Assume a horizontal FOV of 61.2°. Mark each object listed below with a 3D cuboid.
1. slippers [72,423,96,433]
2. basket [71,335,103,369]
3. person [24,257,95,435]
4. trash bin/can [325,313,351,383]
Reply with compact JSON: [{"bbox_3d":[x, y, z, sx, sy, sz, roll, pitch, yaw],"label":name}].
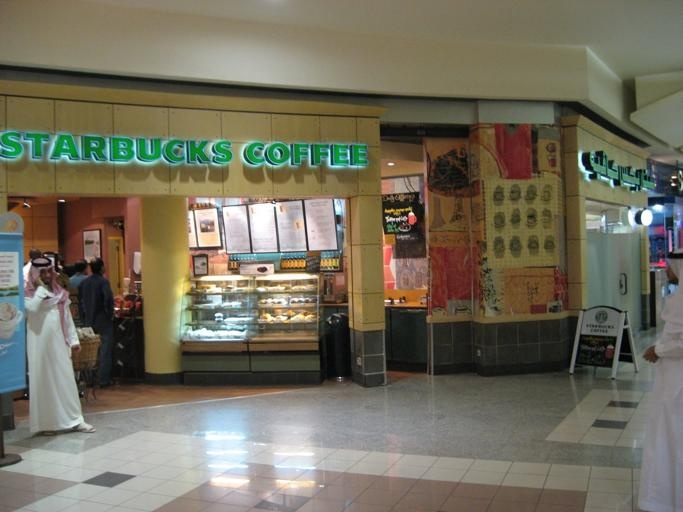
[{"bbox_3d":[-3.237,2.144,7.300,0.211,0.091,0.109,0,-1,1],"label":"slippers"},{"bbox_3d":[-3.703,1.374,8.373,0.398,0.364,0.463,3,-6,-41],"label":"basket"},{"bbox_3d":[-3.601,1.103,7.249,0.639,2.151,0.521,-3,3,-30],"label":"person"},{"bbox_3d":[-0.060,1.494,9.719,0.419,1.026,0.361,-1,3,-3],"label":"trash bin/can"}]
